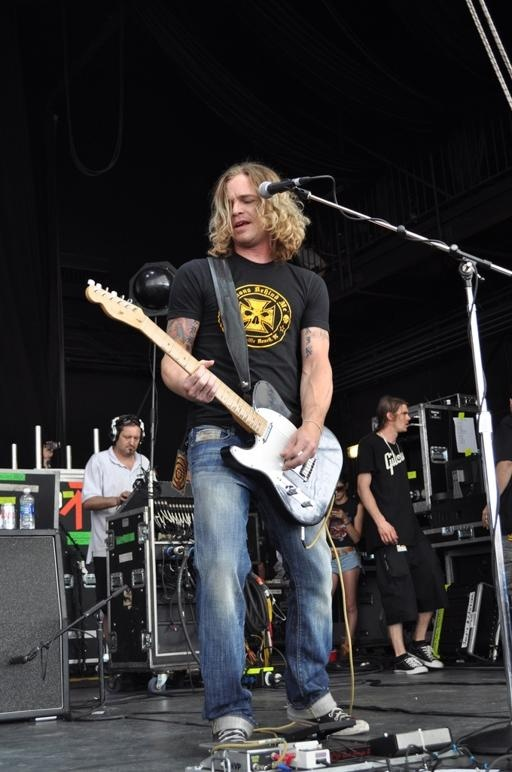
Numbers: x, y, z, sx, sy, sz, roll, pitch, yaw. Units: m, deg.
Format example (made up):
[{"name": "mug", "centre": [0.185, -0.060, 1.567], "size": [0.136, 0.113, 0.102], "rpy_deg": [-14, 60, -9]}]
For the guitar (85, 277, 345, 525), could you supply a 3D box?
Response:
[{"name": "guitar", "centre": [-0.079, 0.035, 2.024], "size": [0.726, 0.717, 0.367], "rpy_deg": [-2, -10, -12]}]

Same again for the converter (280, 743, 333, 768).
[{"name": "converter", "centre": [0.118, 0.756, 1.525], "size": [0.045, 0.027, 0.075], "rpy_deg": [4, -8, -27]}]

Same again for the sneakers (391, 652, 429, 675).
[{"name": "sneakers", "centre": [0.995, 1.819, 4.856], "size": [0.095, 0.102, 0.246], "rpy_deg": [10, -17, -41]}]

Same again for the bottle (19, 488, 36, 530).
[{"name": "bottle", "centre": [-0.996, 0.541, 3.245], "size": [0.073, 0.216, 0.071], "rpy_deg": [-3, -32, -2]}]

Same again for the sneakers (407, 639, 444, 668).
[{"name": "sneakers", "centre": [1.151, 1.856, 5.142], "size": [0.125, 0.141, 0.364], "rpy_deg": [7, -5, -27]}]
